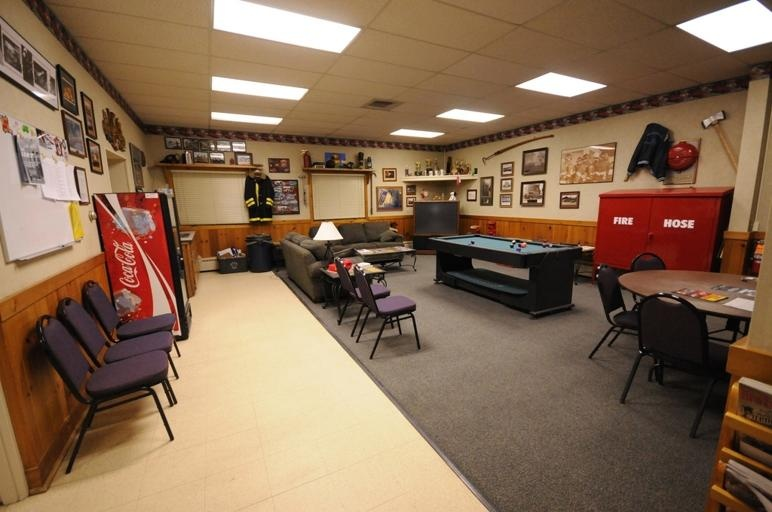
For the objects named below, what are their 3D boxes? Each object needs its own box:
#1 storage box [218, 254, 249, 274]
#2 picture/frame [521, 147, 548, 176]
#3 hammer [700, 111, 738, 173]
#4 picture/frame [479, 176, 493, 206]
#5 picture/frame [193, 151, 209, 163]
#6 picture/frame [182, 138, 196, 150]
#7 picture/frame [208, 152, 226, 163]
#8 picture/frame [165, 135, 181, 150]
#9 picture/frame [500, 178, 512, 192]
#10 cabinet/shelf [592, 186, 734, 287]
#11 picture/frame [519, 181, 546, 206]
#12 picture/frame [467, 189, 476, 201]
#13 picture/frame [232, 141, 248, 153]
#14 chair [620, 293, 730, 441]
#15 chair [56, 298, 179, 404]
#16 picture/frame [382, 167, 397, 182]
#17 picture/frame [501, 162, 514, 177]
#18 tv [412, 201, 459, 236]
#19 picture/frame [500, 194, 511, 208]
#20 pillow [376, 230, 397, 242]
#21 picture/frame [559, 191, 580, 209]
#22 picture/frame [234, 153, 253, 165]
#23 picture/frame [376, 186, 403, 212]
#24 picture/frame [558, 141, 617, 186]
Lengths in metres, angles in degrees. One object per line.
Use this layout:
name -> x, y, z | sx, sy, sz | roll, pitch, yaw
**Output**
storage box -> -3.054, 0.169, 9.246 | 0.429, 0.249, 0.416 | -4, 7, -18
picture/frame -> 2.976, -1.905, 9.223 | 0.050, 0.560, 0.644 | -1, 4, -31
hammer -> 4.848, -1.659, 6.614 | 0.126, 0.886, 0.326 | -11, -17, -37
picture/frame -> 2.297, -1.509, 10.561 | 0.049, 0.705, 0.607 | -5, 12, -24
picture/frame -> -3.644, -1.964, 9.094 | 0.263, 0.178, 0.026 | -3, 11, -24
picture/frame -> -3.842, -2.187, 8.994 | 0.258, 0.212, 0.018 | -2, 13, -21
picture/frame -> -3.382, -1.972, 9.225 | 0.235, 0.197, 0.029 | -11, 22, -14
picture/frame -> -4.093, -2.187, 8.867 | 0.293, 0.243, 0.038 | -5, 20, -29
picture/frame -> 2.601, -1.545, 9.985 | 0.025, 0.262, 0.305 | -6, 13, -29
cabinet/shelf -> 4.040, -0.301, 6.624 | 0.617, 1.417, 1.538 | -3, 5, -32
picture/frame -> 2.990, -1.283, 9.371 | 0.046, 0.455, 0.541 | -6, 11, -33
picture/frame -> 2.054, -1.471, 11.083 | 0.025, 0.232, 0.315 | -1, 5, -24
picture/frame -> -2.975, -2.227, 9.389 | 0.259, 0.176, 0.034 | -4, 18, -28
chair -> 2.865, 1.019, 4.608 | 0.841, 1.359, 0.467 | 7, 13, 32
chair -> -2.728, 0.985, 4.660 | 1.007, 1.273, 0.685 | -4, 20, -8
picture/frame -> 0.068, -2.001, 11.253 | 0.377, 0.309, 0.026 | -3, 15, -28
picture/frame -> 2.599, -1.871, 9.879 | 0.037, 0.308, 0.360 | 1, 2, -26
tv -> 1.146, -0.866, 10.766 | 1.416, 0.993, 0.753 | 1, 9, 2
picture/frame -> 2.606, -1.212, 10.065 | 0.024, 0.271, 0.321 | -3, 5, -26
pillow -> 0.072, -0.440, 10.285 | 0.304, 0.091, 0.277 | 1, 47, 4
picture/frame -> 3.460, -1.063, 8.698 | 0.027, 0.322, 0.377 | 1, 2, -30
picture/frame -> -2.921, -1.996, 9.453 | 0.309, 0.220, 0.030 | -2, 11, -31
picture/frame -> 0.058, -1.431, 11.383 | 0.664, 0.545, 0.046 | -4, 17, -23
picture/frame -> 3.635, -1.672, 8.269 | 0.036, 0.627, 0.931 | -4, 7, -31
